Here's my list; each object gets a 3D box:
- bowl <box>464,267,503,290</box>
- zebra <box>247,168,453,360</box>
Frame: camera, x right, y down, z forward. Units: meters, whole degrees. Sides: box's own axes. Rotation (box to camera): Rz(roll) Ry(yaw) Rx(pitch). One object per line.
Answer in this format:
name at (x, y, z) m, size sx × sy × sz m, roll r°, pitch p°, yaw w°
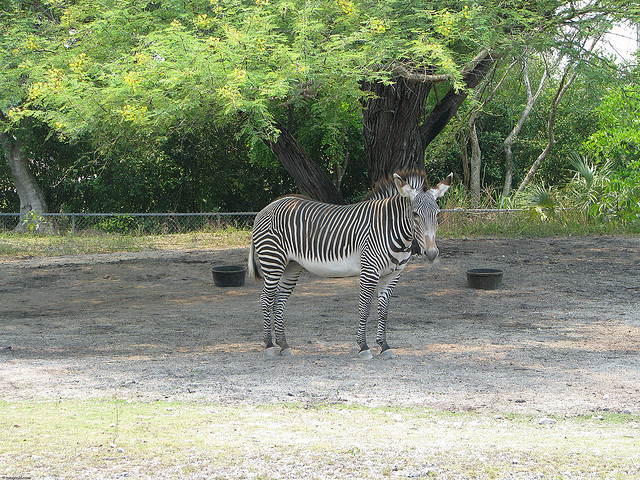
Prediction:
bowl at (3.616, 0.845, 21.856) m, size 0.818 × 0.399 × 0.493 m, roll -2°, pitch 13°, yaw -9°
zebra at (0.461, 0.426, 17.986) m, size 4.462 × 3.040 × 1.400 m, roll -2°, pitch -4°, yaw 35°
